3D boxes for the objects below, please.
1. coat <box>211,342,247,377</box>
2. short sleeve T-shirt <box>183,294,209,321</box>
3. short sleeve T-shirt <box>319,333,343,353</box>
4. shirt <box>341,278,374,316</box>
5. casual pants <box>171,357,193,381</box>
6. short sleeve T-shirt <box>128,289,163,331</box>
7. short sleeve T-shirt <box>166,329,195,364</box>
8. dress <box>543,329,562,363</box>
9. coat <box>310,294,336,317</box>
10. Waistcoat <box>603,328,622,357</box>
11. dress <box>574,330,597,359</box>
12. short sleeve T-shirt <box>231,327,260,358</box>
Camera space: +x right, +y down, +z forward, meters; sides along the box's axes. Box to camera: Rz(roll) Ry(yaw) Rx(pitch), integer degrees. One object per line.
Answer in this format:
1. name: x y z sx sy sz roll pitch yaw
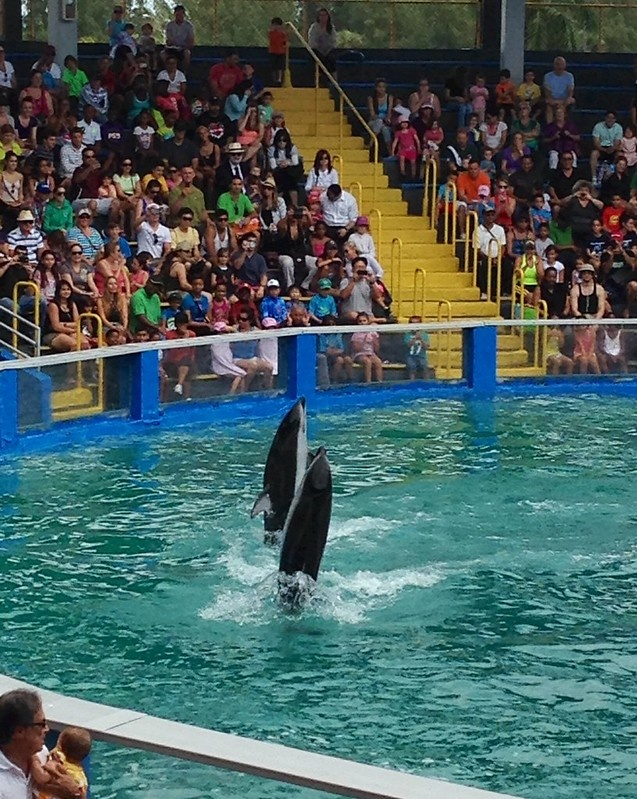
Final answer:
1. coat: -0.888 -0.437 15.274 0.366 0.426 0.165 -11 37 -15
2. short sleeve T-shirt: -1.297 -0.971 16.376 0.167 0.293 0.308 -3 3 34
3. short sleeve T-shirt: 0.130 -0.585 16.020 0.202 0.201 0.085 -1 22 -13
4. shirt: 0.470 -1.177 17.852 0.414 0.420 0.275 -2 5 -18
5. casual pants: -1.297 -0.294 14.918 0.077 0.197 0.144 6 11 -12
6. short sleeve T-shirt: -1.788 -0.918 16.045 0.240 0.437 0.417 3 8 37
7. short sleeve T-shirt: -1.324 -0.503 14.983 0.328 0.421 0.225 1 18 -8
8. dress: 2.602 -0.592 17.114 0.203 0.377 0.125 -1 5 -7
9. coat: 0.049 -1.056 17.480 0.299 0.280 0.167 1 -4 -33
10. Waistcoat: 3.249 -0.629 17.204 0.210 0.328 0.138 0 5 4
11. dress: 2.945 -0.633 17.182 0.233 0.334 0.123 0 5 6
12. short sleeve T-shirt: -0.715 -0.567 15.329 0.297 0.278 0.158 -2 6 -34
